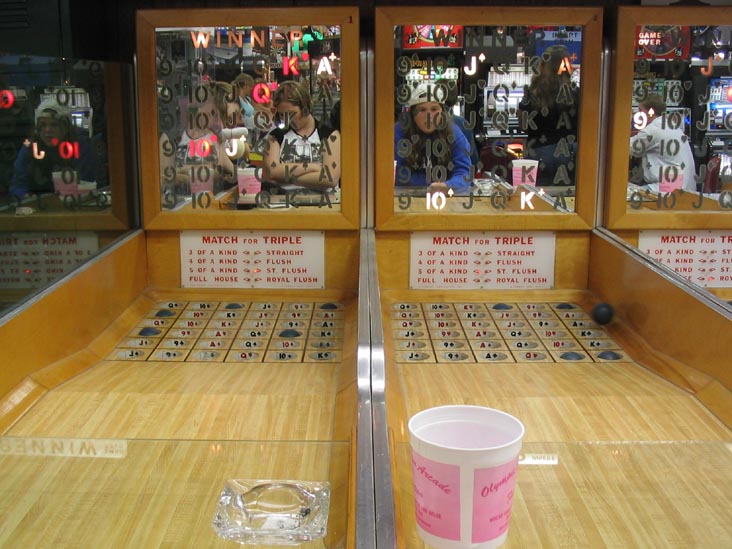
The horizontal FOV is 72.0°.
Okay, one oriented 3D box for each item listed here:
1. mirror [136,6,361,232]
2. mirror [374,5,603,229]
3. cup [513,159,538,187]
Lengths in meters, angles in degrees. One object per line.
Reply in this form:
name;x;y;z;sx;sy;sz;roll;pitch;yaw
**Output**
mirror;-0.471;-0.692;2.128;0.870;0.908;0.077;1;8;4
mirror;0.490;-0.699;2.124;0.878;0.909;0.072;0;9;-3
cup;0.679;-0.432;2.156;0.104;0.113;0.103;0;9;0
